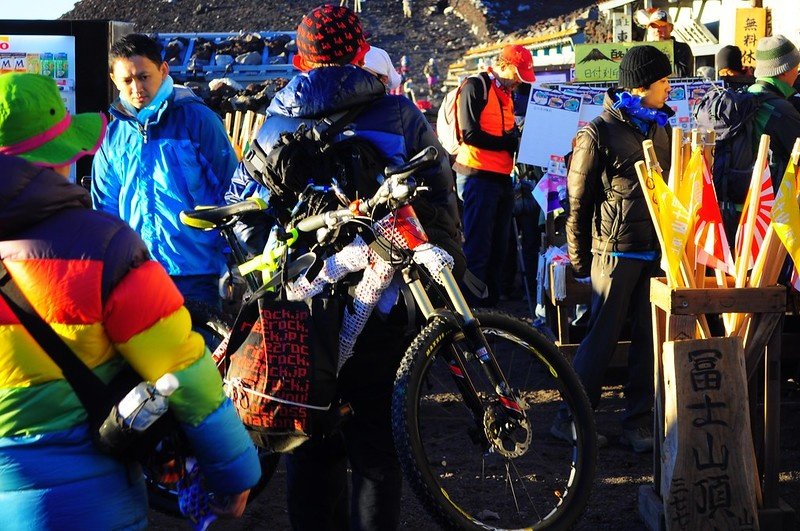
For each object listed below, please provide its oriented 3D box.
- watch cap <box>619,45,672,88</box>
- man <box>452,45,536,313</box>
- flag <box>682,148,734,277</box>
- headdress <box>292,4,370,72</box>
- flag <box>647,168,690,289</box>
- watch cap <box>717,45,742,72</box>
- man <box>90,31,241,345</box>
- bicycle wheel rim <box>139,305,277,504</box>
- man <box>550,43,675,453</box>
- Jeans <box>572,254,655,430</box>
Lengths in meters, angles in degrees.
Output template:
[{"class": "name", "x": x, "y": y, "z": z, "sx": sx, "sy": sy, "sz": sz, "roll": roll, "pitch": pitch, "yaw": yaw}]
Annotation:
[{"class": "watch cap", "x": 1.654, "y": -1.375, "z": 5.192, "sx": 0.280, "sy": 0.239, "sz": 0.301, "roll": -9, "pitch": 29, "yaw": 18}, {"class": "man", "x": 0.944, "y": -0.858, "z": 7.906, "sx": 0.854, "sy": 2.791, "sz": 0.761, "roll": -4, "pitch": 8, "yaw": -37}, {"class": "flag", "x": 1.523, "y": -0.305, "z": 3.811, "sx": 0.274, "sy": 0.888, "sz": 0.081, "roll": -5, "pitch": 48, "yaw": 16}, {"class": "headdress", "x": -0.330, "y": -1.034, "z": 3.541, "sx": 0.225, "sy": 0.214, "sz": 0.364, "roll": -13, "pitch": 36, "yaw": -4}, {"class": "flag", "x": 1.346, "y": -0.230, "z": 3.768, "sx": 0.205, "sy": 0.669, "sz": 0.071, "roll": -1, "pitch": -22, "yaw": 16}, {"class": "watch cap", "x": 3.395, "y": -2.162, "z": 8.011, "sx": 0.302, "sy": 0.298, "sz": 0.230, "roll": -21, "pitch": 27, "yaw": -35}, {"class": "man", "x": -1.575, "y": -0.240, "z": 5.051, "sx": 0.969, "sy": 2.495, "sz": 0.581, "roll": -10, "pitch": -11, "yaw": 0}, {"class": "bicycle wheel rim", "x": -1.118, "y": 0.747, "z": 4.252, "sx": 0.976, "sy": 1.057, "sz": 0.241, "roll": -1, "pitch": -9, "yaw": -4}, {"class": "man", "x": 1.585, "y": -0.177, "z": 5.335, "sx": 0.804, "sy": 2.681, "sz": 0.745, "roll": 1, "pitch": 14, "yaw": 17}, {"class": "Jeans", "x": 1.557, "y": 0.497, "z": 5.467, "sx": 0.541, "sy": 1.497, "sz": 0.388, "roll": -8, "pitch": 23, "yaw": -1}]
